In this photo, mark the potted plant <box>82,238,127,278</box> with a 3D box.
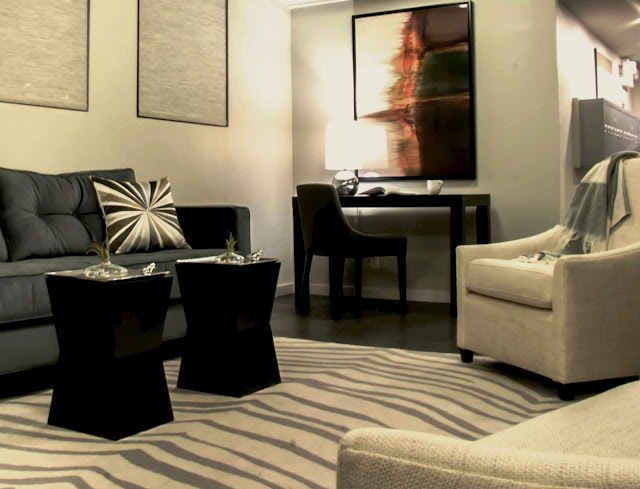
[{"bbox_3d":[-0.809,0.045,1.856,0.149,0.157,0.143,-2,4,-35],"label":"potted plant"}]

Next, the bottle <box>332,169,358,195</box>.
[{"bbox_3d":[0.222,-0.531,4.372,0.216,0.201,0.213,-1,0,-15],"label":"bottle"}]

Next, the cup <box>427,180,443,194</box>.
[{"bbox_3d":[0.938,-0.448,4.001,0.151,0.114,0.119,0,0,-27],"label":"cup"}]

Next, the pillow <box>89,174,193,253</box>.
[{"bbox_3d":[-1.054,-0.157,2.918,0.145,0.464,0.493,-32,-19,38],"label":"pillow"}]

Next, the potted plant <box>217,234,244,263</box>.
[{"bbox_3d":[-0.472,0.018,2.625,0.141,0.156,0.143,3,4,29],"label":"potted plant"}]

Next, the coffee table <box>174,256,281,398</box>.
[{"bbox_3d":[-0.537,0.352,2.518,0.541,0.841,0.540,1,0,43],"label":"coffee table"}]

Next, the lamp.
[{"bbox_3d":[0.282,-0.749,4.511,0.597,0.928,0.599,0,-1,0],"label":"lamp"}]

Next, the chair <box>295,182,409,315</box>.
[{"bbox_3d":[0.203,0.015,4.048,0.811,1.005,0.732,-2,6,-22],"label":"chair"}]
